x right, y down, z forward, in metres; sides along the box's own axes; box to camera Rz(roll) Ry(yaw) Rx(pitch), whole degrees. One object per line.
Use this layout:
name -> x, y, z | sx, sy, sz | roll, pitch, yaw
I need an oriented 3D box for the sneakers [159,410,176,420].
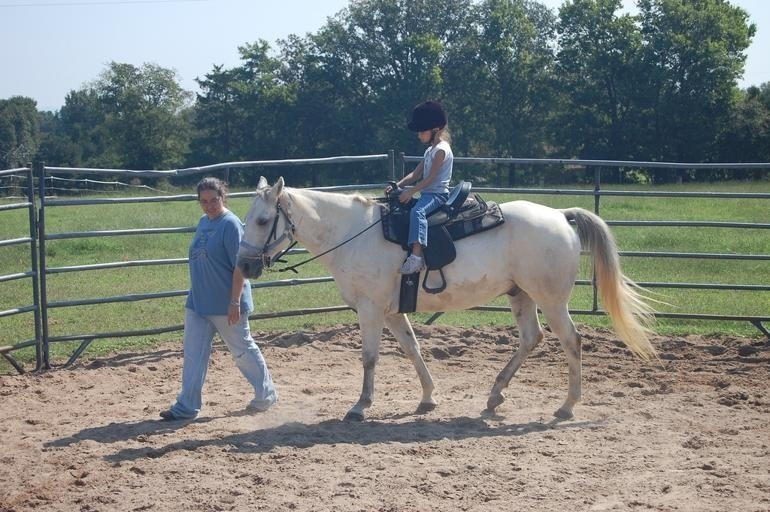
sneakers -> -5.426, 3.959, 28.102 | 0.423, 0.188, 0.182 | 21, 2, -11
